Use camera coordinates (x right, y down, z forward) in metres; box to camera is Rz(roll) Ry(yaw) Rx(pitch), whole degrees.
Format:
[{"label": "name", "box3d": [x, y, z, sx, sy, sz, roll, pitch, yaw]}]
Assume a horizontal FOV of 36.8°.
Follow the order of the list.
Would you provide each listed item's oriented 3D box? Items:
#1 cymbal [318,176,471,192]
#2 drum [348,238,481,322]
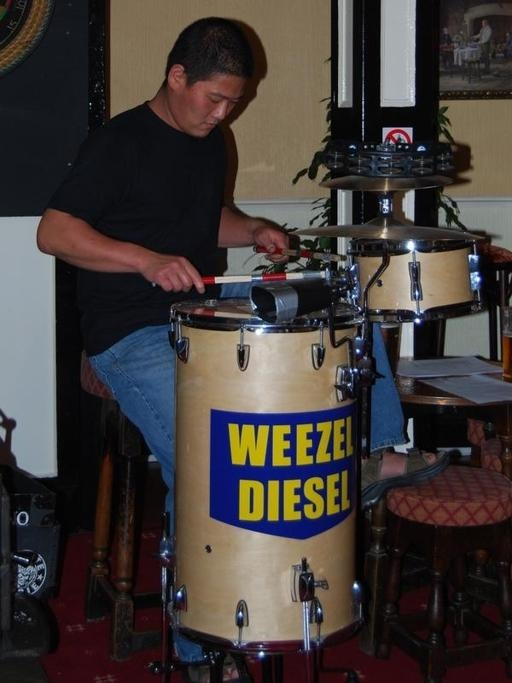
[{"label": "cymbal", "box3d": [0.356, -0.407, 2.000, 0.224, 0.025, 0.212, 0, 6, -21]}, {"label": "drum", "box3d": [0.410, -0.140, 1.930, 0.251, 0.134, 0.237, -1, 5, 0]}]
